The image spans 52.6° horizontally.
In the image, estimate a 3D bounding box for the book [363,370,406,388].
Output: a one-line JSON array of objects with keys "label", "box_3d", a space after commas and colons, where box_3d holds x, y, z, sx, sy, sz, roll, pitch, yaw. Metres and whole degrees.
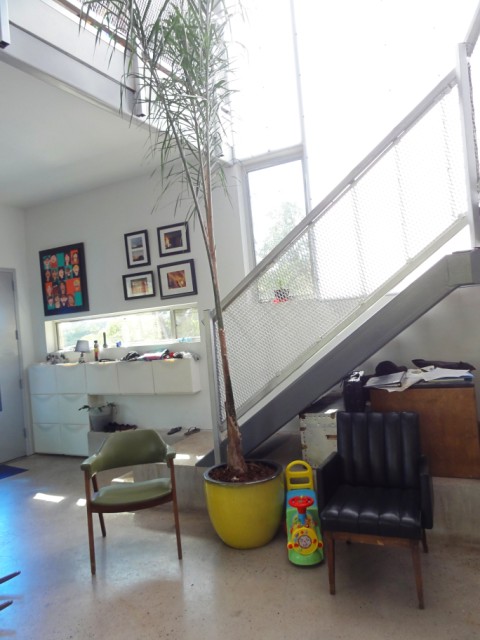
[{"label": "book", "box_3d": [0.957, 0.394, 3.183, 0.248, 0.103, 0.400, -6, -2, 19]}]

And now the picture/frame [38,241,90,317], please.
[{"label": "picture/frame", "box_3d": [-2.154, -0.515, 6.079, 0.812, 1.004, 0.070, -6, 1, 33]}]

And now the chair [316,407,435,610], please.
[{"label": "chair", "box_3d": [0.697, 1.001, 2.505, 0.693, 1.121, 0.653, -1, -5, 17]}]

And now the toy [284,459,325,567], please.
[{"label": "toy", "box_3d": [0.382, 1.129, 2.889, 0.166, 0.212, 0.530, -3, 10, 5]}]
